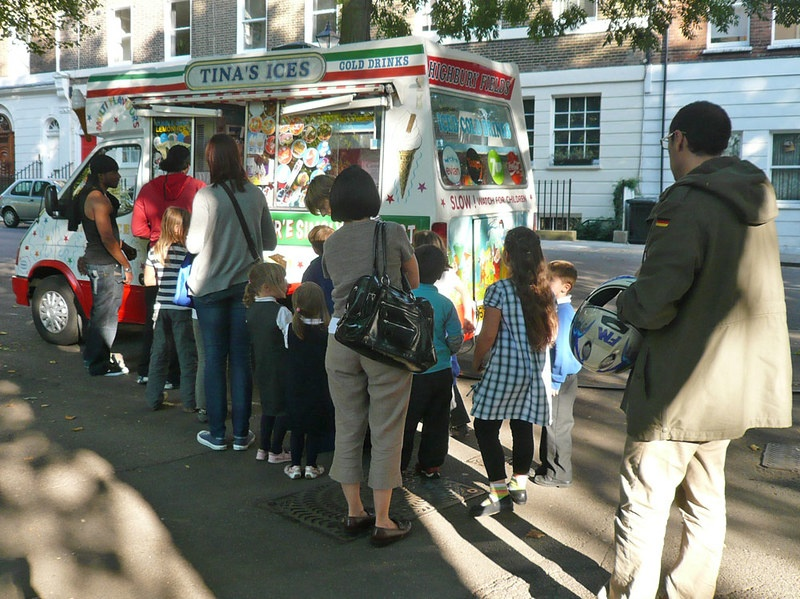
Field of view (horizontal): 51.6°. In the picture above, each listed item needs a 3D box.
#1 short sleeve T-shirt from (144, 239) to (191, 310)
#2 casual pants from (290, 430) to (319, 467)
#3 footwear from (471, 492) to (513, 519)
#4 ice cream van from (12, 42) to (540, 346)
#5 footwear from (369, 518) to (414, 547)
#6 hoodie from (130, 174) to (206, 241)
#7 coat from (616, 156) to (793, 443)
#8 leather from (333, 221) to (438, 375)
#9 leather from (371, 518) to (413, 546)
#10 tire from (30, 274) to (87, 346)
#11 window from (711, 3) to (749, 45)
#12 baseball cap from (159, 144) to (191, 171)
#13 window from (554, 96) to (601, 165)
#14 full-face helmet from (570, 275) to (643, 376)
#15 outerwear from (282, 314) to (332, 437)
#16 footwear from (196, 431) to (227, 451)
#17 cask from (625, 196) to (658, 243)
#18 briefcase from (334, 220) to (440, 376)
[{"bbox_3d":[-2.180,-0.305,7.781,0.588,0.277,0.738,22,0,-21],"label":"short sleeve T-shirt"},{"bbox_3d":[-0.737,1.134,6.300,0.321,0.274,0.101,6,-14,-40],"label":"casual pants"},{"bbox_3d":[0.650,1.463,5.840,0.264,0.122,0.141,0,0,0],"label":"footwear"},{"bbox_3d":[-1.259,-1.253,9.599,5.051,2.821,2.884,4,7,27],"label":"ice cream van"},{"bbox_3d":[-0.081,1.558,5.505,0.126,0.093,0.252,4,7,40],"label":"footwear"},{"bbox_3d":[-2.174,-0.838,7.735,0.726,0.726,0.446,3,14,14],"label":"hoodie"},{"bbox_3d":[1.704,0.020,4.589,0.929,1.513,0.332,-3,10,-6],"label":"coat"},{"bbox_3d":[-0.043,-0.048,5.414,0.634,1.020,0.345,21,-27,-26],"label":"leather"},{"bbox_3d":[-0.062,1.557,5.528,0.124,0.092,0.249,4,7,40],"label":"leather"},{"bbox_3d":[-3.964,0.119,9.621,0.604,0.683,0.214,23,16,30],"label":"tire"},{"bbox_3d":[7.745,-6.447,19.473,0.829,0.908,0.605,1,10,17],"label":"window"},{"bbox_3d":[-2.190,-1.317,8.008,0.211,0.297,0.150,25,-37,0],"label":"baseball cap"},{"bbox_3d":[4.625,-4.401,21.411,1.638,2.341,0.259,2,4,32],"label":"window"},{"bbox_3d":[1.200,0.183,5.036,0.389,0.469,0.540,28,-16,14],"label":"full-face helmet"},{"bbox_3d":[-0.688,0.623,6.279,0.379,0.923,0.255,2,-30,-8],"label":"outerwear"},{"bbox_3d":[-1.580,1.160,6.879,0.113,0.118,0.278,-4,14,-45],"label":"footwear"},{"bbox_3d":[5.655,-1.852,19.922,0.647,1.138,0.768,2,8,4],"label":"cask"},{"bbox_3d":[-0.056,-0.054,5.405,0.619,1.004,0.355,21,-26,-31],"label":"briefcase"}]
